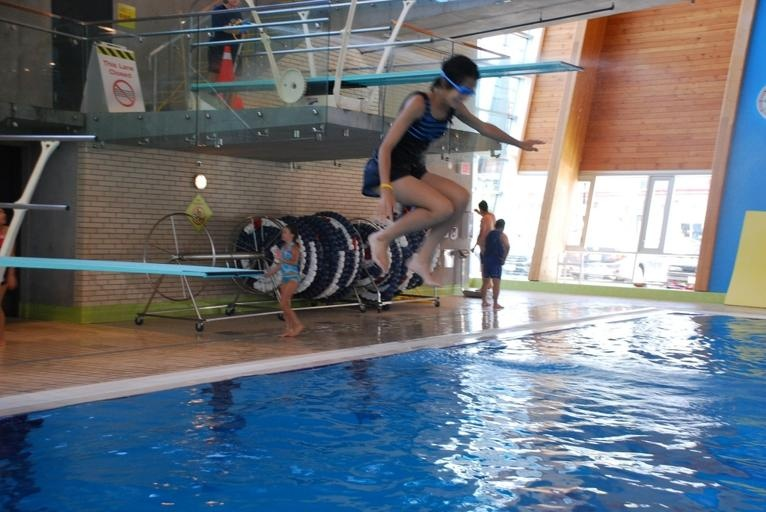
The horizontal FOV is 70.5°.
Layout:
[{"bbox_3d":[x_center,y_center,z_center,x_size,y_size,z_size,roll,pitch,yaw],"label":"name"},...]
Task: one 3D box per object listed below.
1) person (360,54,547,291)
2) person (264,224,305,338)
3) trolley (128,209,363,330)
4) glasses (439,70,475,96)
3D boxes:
[{"bbox_3d":[0.254,-0.614,4.053,0.781,1.749,0.756,5,6,7],"label":"person"},{"bbox_3d":[-1.431,0.326,7.874,0.579,1.549,1.357,3,5,-11],"label":"person"},{"bbox_3d":[-1.975,0.051,9.981,4.883,1.509,1.953,-1,7,29],"label":"trolley"},{"bbox_3d":[0.482,-1.175,3.749,0.235,0.045,0.202,20,8,16],"label":"glasses"}]
